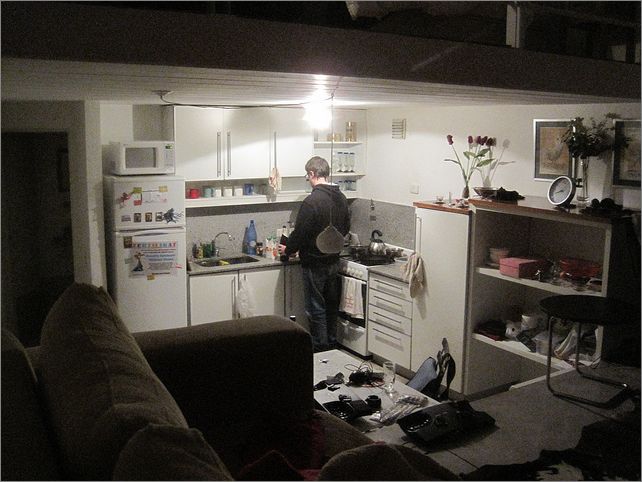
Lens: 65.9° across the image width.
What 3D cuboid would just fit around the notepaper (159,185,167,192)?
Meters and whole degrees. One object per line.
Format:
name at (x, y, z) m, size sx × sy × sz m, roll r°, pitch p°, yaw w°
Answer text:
notepaper at (-1.616, -0.536, 5.059) m, size 0.080 × 0.058 × 0.045 m, roll -1°, pitch 13°, yaw -14°

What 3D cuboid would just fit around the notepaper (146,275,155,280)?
notepaper at (-1.758, 0.373, 5.113) m, size 0.080 × 0.055 × 0.043 m, roll -1°, pitch 15°, yaw -16°

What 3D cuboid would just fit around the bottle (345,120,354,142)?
bottle at (0.397, -1.449, 6.548) m, size 0.058 × 0.255 × 0.186 m, roll 2°, pitch 9°, yaw 41°

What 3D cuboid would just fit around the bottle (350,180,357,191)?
bottle at (0.443, -0.759, 6.762) m, size 0.112 × 0.127 × 0.111 m, roll -11°, pitch 20°, yaw -39°

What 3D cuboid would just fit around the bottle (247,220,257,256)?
bottle at (-0.879, -0.050, 6.278) m, size 0.109 × 0.424 × 0.215 m, roll -4°, pitch 7°, yaw -5°

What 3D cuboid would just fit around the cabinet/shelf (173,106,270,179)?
cabinet/shelf at (-1.179, -1.147, 5.653) m, size 0.854 × 0.634 × 0.324 m, roll -4°, pitch 10°, yaw -28°

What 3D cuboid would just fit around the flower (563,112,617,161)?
flower at (2.201, -0.848, 4.032) m, size 0.335 × 0.337 × 0.228 m, roll 0°, pitch 8°, yaw 30°

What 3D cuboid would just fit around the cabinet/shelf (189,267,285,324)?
cabinet/shelf at (-0.967, 0.576, 5.374) m, size 0.565 × 0.522 × 0.216 m, roll -4°, pitch 9°, yaw -27°

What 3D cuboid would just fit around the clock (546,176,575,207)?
clock at (1.888, -0.392, 3.885) m, size 0.147 × 0.229 × 0.231 m, roll -4°, pitch 7°, yaw 0°

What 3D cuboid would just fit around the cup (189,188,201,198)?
cup at (-1.498, -0.562, 5.843) m, size 0.130 × 0.115 × 0.176 m, roll -5°, pitch 7°, yaw -12°

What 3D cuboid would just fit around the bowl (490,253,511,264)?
bowl at (1.605, 0.150, 4.513) m, size 0.100 × 0.071 × 0.095 m, roll 0°, pitch 6°, yaw 0°

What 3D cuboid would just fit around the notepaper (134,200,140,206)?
notepaper at (-1.848, -0.389, 4.974) m, size 0.055 × 0.039 × 0.008 m, roll -1°, pitch 14°, yaw -19°

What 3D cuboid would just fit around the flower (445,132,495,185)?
flower at (1.505, -0.801, 4.993) m, size 0.544 × 0.599 × 0.465 m, roll 6°, pitch 14°, yaw 18°

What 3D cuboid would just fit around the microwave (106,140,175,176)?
microwave at (-1.871, -0.869, 5.131) m, size 0.604 × 0.372 × 0.450 m, roll -7°, pitch 11°, yaw -37°

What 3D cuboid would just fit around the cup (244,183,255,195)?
cup at (-0.898, -0.648, 6.172) m, size 0.123 × 0.137 × 0.152 m, roll -5°, pitch 7°, yaw -7°

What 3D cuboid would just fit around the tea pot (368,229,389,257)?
tea pot at (0.707, 0.046, 6.091) m, size 0.239 × 0.313 × 0.306 m, roll -2°, pitch 5°, yaw -22°

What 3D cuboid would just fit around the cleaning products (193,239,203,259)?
cleaning products at (-1.490, 0.106, 6.012) m, size 0.140 × 0.193 × 0.075 m, roll -7°, pitch 8°, yaw -26°
